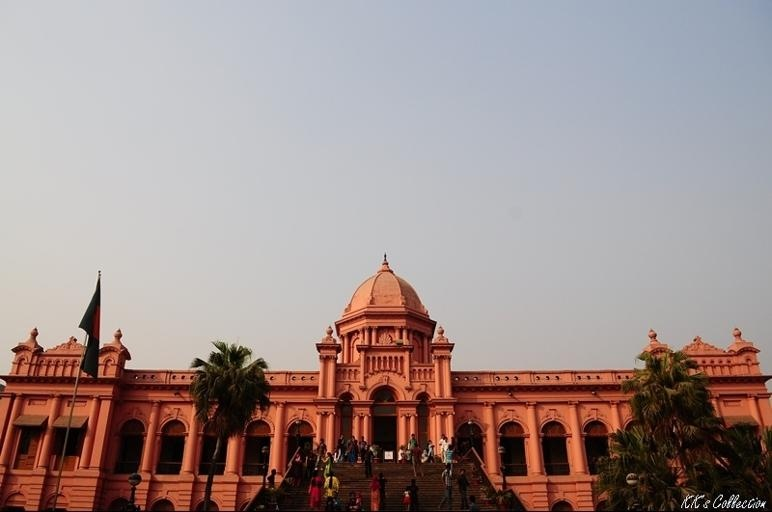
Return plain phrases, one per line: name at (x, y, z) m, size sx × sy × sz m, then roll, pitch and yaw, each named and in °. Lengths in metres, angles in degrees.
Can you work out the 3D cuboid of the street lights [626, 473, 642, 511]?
street lights at (12.149, 11.666, 29.070) m, size 0.591 × 1.684 × 0.687 m, roll -1°, pitch -24°, yaw 5°
